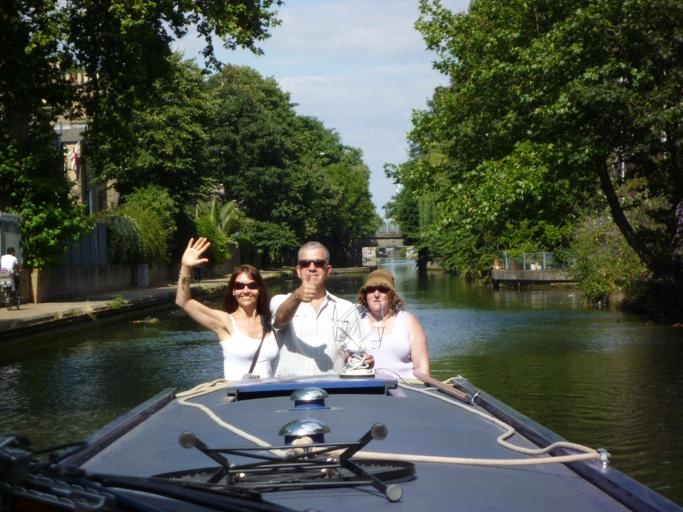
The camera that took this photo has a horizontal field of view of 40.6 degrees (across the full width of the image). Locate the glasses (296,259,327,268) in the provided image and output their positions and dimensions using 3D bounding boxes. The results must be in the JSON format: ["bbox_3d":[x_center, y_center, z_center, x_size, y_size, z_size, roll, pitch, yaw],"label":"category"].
[{"bbox_3d":[-0.287,0.080,9.543,0.285,0.076,0.134,2,1,-3],"label":"glasses"}]

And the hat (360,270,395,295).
[{"bbox_3d":[0.438,0.286,10.211,0.238,0.203,0.337,2,-11,3],"label":"hat"}]

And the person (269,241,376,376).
[{"bbox_3d":[-0.192,0.557,9.476,0.881,1.087,1.208,2,1,-16],"label":"person"}]
